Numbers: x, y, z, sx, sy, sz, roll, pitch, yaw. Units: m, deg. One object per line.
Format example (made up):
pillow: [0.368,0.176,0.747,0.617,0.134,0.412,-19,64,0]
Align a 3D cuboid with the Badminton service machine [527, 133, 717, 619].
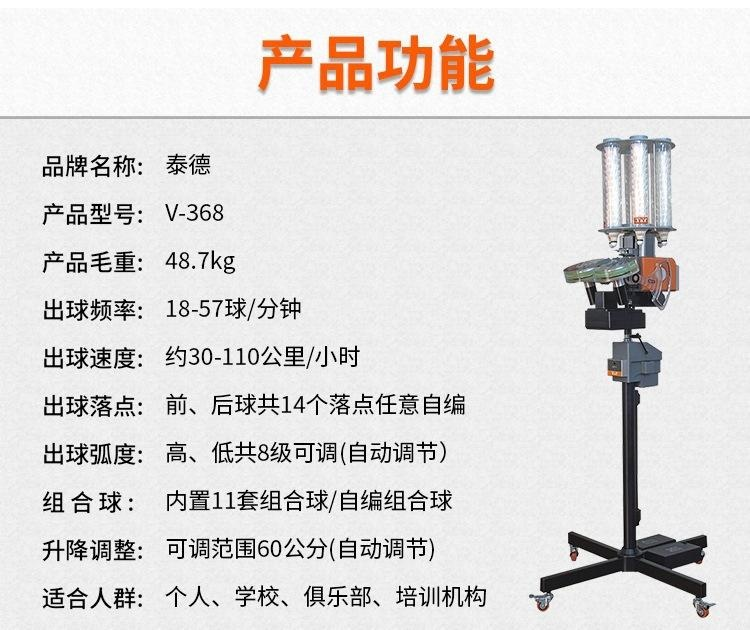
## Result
Badminton service machine: [1.537,0.263,9.307,0.856,2.630,0.661,1,8,9]
